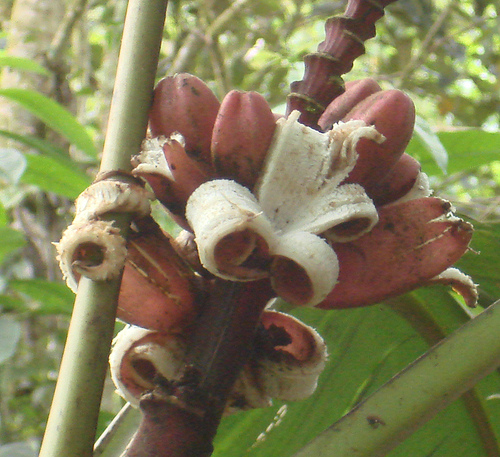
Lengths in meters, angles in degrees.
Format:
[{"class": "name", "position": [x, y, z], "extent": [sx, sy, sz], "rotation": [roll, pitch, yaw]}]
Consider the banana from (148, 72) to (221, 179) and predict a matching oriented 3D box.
[{"class": "banana", "position": [-0.202, -0.308, 3.720], "extent": [0.301, 0.285, 0.109], "rotation": [-10, -1, -5]}]

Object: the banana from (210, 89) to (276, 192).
[{"class": "banana", "position": [-0.009, -0.276, 3.754], "extent": [0.222, 0.279, 0.119], "rotation": [10, 8, 5]}]

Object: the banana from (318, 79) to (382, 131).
[{"class": "banana", "position": [0.304, -0.387, 3.828], "extent": [0.065, 0.149, 0.189], "rotation": [55, -1, 7]}]
